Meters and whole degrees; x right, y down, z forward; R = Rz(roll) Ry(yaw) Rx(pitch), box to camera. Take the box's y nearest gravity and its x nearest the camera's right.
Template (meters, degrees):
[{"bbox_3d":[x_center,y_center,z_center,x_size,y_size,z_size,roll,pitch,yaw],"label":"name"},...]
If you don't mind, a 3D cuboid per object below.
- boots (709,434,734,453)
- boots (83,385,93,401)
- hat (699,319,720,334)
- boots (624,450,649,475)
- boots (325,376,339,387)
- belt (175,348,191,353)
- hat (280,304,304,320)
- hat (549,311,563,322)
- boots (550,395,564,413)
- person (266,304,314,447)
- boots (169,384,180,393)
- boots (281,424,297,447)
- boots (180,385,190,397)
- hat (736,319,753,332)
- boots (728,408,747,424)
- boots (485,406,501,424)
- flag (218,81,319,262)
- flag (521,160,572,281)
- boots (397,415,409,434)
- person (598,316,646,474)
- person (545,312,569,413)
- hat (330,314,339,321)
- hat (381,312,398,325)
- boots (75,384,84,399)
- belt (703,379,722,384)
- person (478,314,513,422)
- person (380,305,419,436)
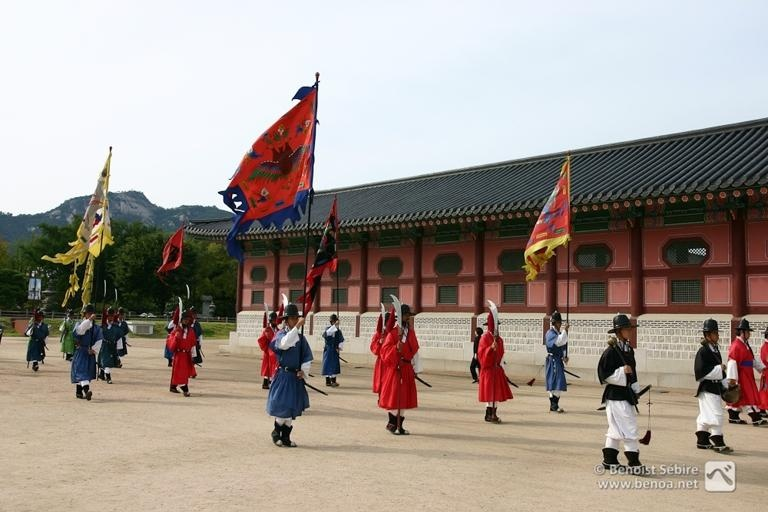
[{"bbox_3d":[7.383,4.123,19.437,0.251,0.306,0.711,2,-16,-7],"label":"boots"},{"bbox_3d":[-7.639,3.550,23.015,0.181,0.409,0.396,-2,13,-31],"label":"boots"},{"bbox_3d":[7.310,1.580,19.835,0.393,0.247,0.382,3,-2,-20],"label":"hat"},{"bbox_3d":[5.190,4.254,18.291,0.439,0.483,0.351,2,-7,15],"label":"boots"},{"bbox_3d":[-1.558,3.830,27.065,0.442,0.418,0.209,0,-5,-8],"label":"boots"},{"bbox_3d":[-5.522,2.623,24.680,0.075,0.113,0.479,-2,-8,38],"label":"belt"},{"bbox_3d":[-2.088,1.238,19.891,0.356,0.265,0.374,3,-10,-38],"label":"hat"},{"bbox_3d":[4.669,1.642,24.060,0.382,0.239,0.512,1,-1,23],"label":"hat"},{"bbox_3d":[4.530,3.863,23.177,0.374,0.420,0.848,2,-6,11],"label":"boots"},{"bbox_3d":[-2.095,2.599,19.648,0.902,3.126,0.842,2,-7,10],"label":"person"},{"bbox_3d":[-5.755,3.656,24.593,0.253,0.244,0.528,5,-6,-13],"label":"boots"},{"bbox_3d":[-2.025,3.939,19.481,0.328,0.450,0.445,1,-7,15],"label":"boots"},{"bbox_3d":[-5.375,3.660,24.237,0.238,0.292,0.455,5,-7,-14],"label":"boots"},{"bbox_3d":[8.652,1.673,21.401,0.543,0.346,0.548,-2,-4,26],"label":"hat"},{"bbox_3d":[8.713,3.985,22.059,0.489,0.461,0.279,-3,-3,-1],"label":"boots"},{"bbox_3d":[2.665,3.874,21.786,0.406,0.405,0.404,2,-7,10],"label":"boots"},{"bbox_3d":[-2.806,-2.349,22.669,2.107,4.579,1.266,4,-7,-3],"label":"flag"},{"bbox_3d":[4.723,-0.989,25.320,1.282,3.311,0.680,-2,-9,37],"label":"flag"},{"bbox_3d":[0.450,3.938,20.736,0.298,0.406,0.549,3,-6,1],"label":"boots"},{"bbox_3d":[4.929,2.817,18.522,0.890,3.184,0.765,1,-7,16],"label":"person"},{"bbox_3d":[4.606,2.794,23.686,0.576,2.647,1.529,2,-7,11],"label":"person"},{"bbox_3d":[-1.517,1.917,27.471,0.267,0.188,0.293,-1,7,0],"label":"hat"},{"bbox_3d":[0.150,1.493,21.305,0.292,0.359,0.375,-16,-32,32],"label":"hat"},{"bbox_3d":[-7.932,3.549,23.312,0.176,0.346,0.371,6,-7,-21],"label":"boots"},{"bbox_3d":[7.232,2.769,19.577,0.422,0.090,0.092,4,-7,-11],"label":"belt"},{"bbox_3d":[2.714,2.718,21.913,0.814,2.732,1.145,3,-7,6],"label":"person"},{"bbox_3d":[0.370,2.612,20.936,0.901,3.078,0.763,3,-7,0],"label":"person"}]
